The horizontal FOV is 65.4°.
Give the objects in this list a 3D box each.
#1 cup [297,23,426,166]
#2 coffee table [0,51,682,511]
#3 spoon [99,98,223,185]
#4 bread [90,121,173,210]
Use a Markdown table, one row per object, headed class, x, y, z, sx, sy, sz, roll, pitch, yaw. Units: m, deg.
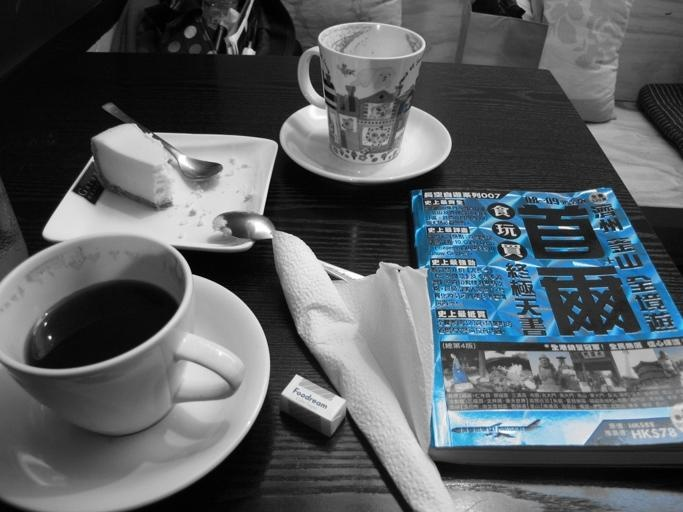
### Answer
| class | x | y | z | sx | sy | sz | roll | pitch | yaw |
| --- | --- | --- | --- | --- | --- | --- | --- | --- | --- |
| cup | 0.023 | -0.231 | 0.756 | 0.171 | 0.156 | 0.139 | 12 | 40 | 11 |
| coffee table | -0.023 | -0.084 | 0.654 | 0.690 | 0.167 | 0.685 | 3 | 54 | -1 |
| spoon | -0.243 | -0.153 | 0.763 | 0.173 | 0.024 | 0.035 | 34 | 95 | 36 |
| bread | -0.265 | -0.116 | 0.726 | 0.123 | 0.068 | 0.080 | 37 | 57 | 16 |
